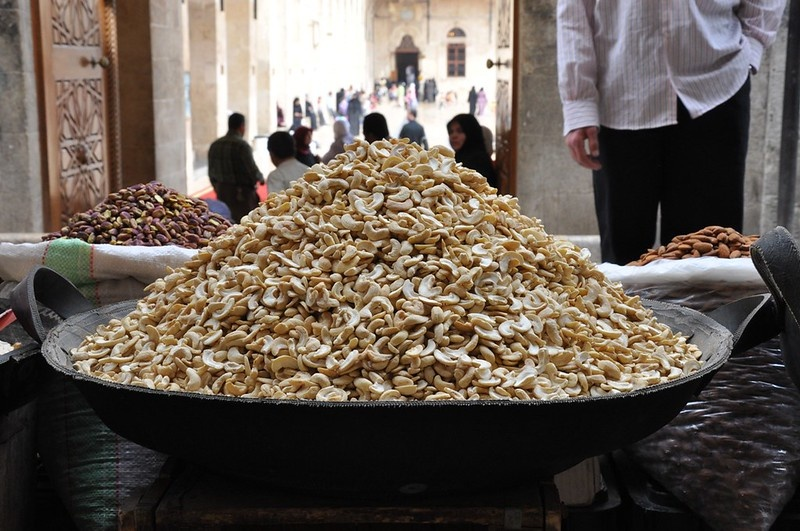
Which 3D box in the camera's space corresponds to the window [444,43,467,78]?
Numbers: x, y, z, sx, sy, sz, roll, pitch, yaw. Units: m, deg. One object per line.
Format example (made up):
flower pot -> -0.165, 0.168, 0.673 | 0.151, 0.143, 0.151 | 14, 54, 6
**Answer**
window -> 1.484, -5.238, 22.947 | 0.478, 0.907, 0.063 | 1, -15, 2
